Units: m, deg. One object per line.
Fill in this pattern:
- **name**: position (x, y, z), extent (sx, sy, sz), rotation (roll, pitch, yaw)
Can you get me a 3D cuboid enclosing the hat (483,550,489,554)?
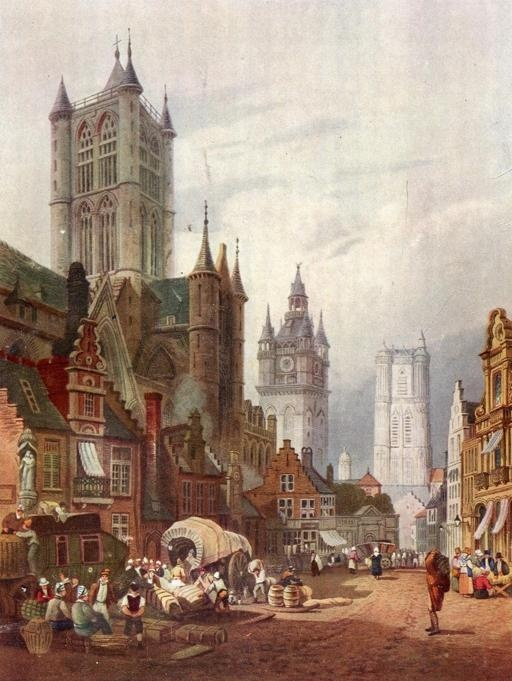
- **hat**: position (5.804, 5.318, 39.725), extent (0.100, 0.127, 0.106), rotation (1, -4, 13)
